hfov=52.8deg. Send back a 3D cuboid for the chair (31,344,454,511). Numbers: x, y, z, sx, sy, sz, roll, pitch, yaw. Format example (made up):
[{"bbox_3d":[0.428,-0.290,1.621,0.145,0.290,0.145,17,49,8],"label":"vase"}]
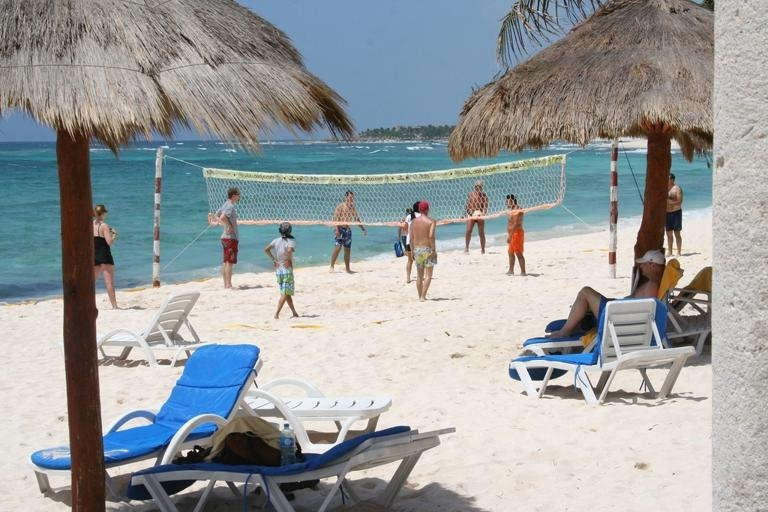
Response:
[{"bbox_3d":[-1.105,1.349,5.699,2.676,1.020,1.475,1,8,26],"label":"chair"}]

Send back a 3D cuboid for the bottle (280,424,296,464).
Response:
[{"bbox_3d":[-0.677,1.322,5.421,0.112,0.224,0.285,-4,8,-8],"label":"bottle"}]

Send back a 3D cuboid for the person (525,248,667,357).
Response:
[{"bbox_3d":[2.158,0.467,8.068,1.604,0.961,0.774,-2,9,7],"label":"person"}]

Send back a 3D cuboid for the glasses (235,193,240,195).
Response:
[{"bbox_3d":[-2.477,-1.048,13.141,0.040,0.044,0.040,-6,11,-35],"label":"glasses"}]

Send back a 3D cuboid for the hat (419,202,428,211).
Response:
[{"bbox_3d":[0.610,-0.791,12.203,0.120,0.146,0.149,5,-15,9],"label":"hat"}]

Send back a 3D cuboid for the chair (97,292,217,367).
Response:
[{"bbox_3d":[-2.892,0.891,9.389,1.540,0.754,0.815,-3,2,24],"label":"chair"}]

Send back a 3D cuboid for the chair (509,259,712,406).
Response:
[{"bbox_3d":[2.062,0.667,7.754,1.213,1.000,2.036,-4,2,-26],"label":"chair"}]

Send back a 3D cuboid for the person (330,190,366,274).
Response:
[{"bbox_3d":[-0.775,-0.457,15.253,0.675,1.586,1.324,-4,8,-4],"label":"person"}]

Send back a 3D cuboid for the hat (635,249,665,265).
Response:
[{"bbox_3d":[2.715,0.009,7.913,0.214,0.112,0.150,1,2,23],"label":"hat"}]
